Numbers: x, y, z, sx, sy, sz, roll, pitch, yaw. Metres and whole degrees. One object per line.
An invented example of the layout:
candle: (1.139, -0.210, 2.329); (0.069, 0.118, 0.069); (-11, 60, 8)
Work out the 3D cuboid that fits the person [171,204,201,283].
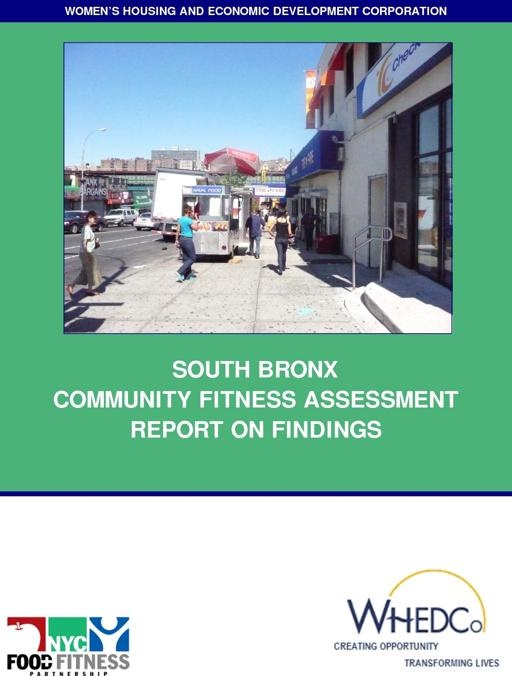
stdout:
person: (-1.828, -2.306, 14.484); (0.553, 1.708, 1.900); (-2, 11, -7)
